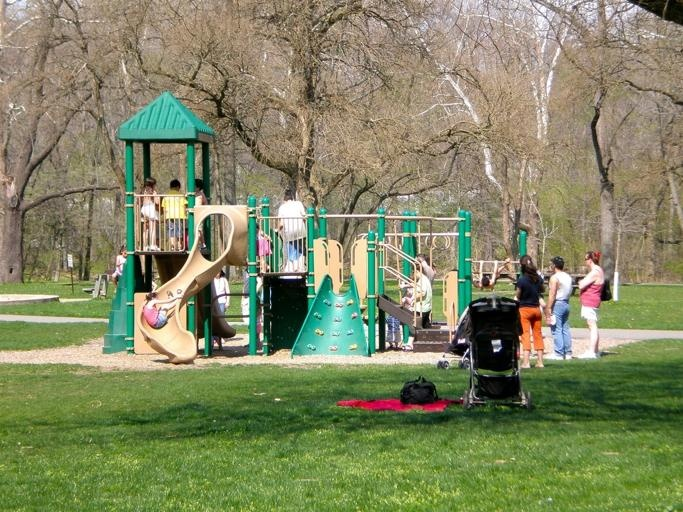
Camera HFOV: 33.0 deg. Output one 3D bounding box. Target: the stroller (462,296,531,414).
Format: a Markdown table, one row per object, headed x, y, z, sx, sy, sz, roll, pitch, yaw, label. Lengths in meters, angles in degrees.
| x | y | z | sx | sy | sz | roll | pitch | yaw | label |
| --- | --- | --- | --- | --- | --- | --- | --- | --- | --- |
| 3.282 | 2.000 | 24.697 | 1.394 | 2.320 | 1.589 | 0 | -1 | 13 | stroller |

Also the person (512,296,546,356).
| x | y | z | sx | sy | sz | roll | pitch | yaw | label |
| --- | --- | --- | --- | --- | --- | --- | --- | --- | --- |
| 4.588 | 1.689 | 27.678 | 0.488 | 1.235 | 0.379 | 1 | 21 | 14 | person |

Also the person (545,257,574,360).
| x | y | z | sx | sy | sz | roll | pitch | yaw | label |
| --- | --- | --- | --- | --- | --- | --- | --- | --- | --- |
| 5.431 | 1.322 | 28.669 | 0.528 | 2.626 | 0.813 | 2 | 9 | 10 | person |

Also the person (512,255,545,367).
| x | y | z | sx | sy | sz | roll | pitch | yaw | label |
| --- | --- | --- | --- | --- | --- | --- | --- | --- | --- |
| 4.499 | 1.265 | 27.790 | 0.764 | 2.813 | 0.933 | 0 | 0 | 10 | person |

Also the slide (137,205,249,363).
| x | y | z | sx | sy | sz | roll | pitch | yaw | label |
| --- | --- | --- | --- | --- | --- | --- | --- | --- | --- |
| -3.956 | 0.618 | 30.346 | 1.616 | 3.653 | 2.961 | 11 | 18 | 38 | slide |

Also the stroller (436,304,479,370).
| x | y | z | sx | sy | sz | roll | pitch | yaw | label |
| --- | --- | --- | --- | --- | --- | --- | --- | --- | --- |
| 2.604 | 2.048 | 25.528 | 0.699 | 1.558 | 0.867 | 2 | 7 | 3 | stroller |
